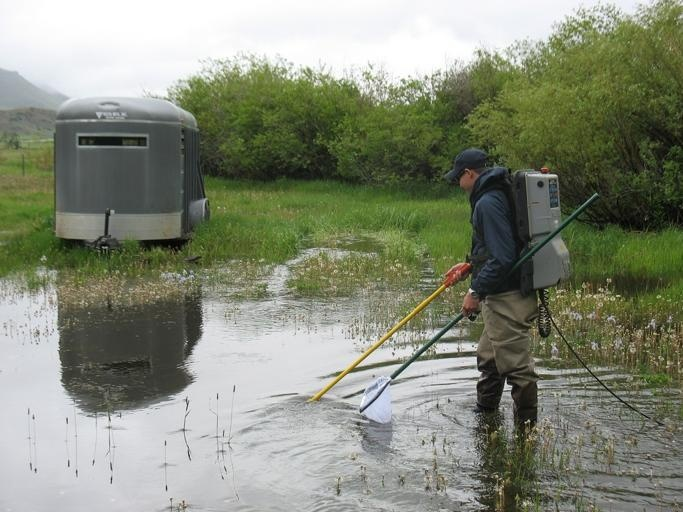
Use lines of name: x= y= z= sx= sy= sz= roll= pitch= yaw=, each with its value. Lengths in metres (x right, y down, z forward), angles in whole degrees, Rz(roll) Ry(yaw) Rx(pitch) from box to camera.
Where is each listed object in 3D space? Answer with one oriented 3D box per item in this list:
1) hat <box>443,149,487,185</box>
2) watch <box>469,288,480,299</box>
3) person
hat: x=1.541 y=-1.124 z=9.769 sx=0.587 sy=0.338 sz=0.408 roll=-6 pitch=-10 yaw=12
watch: x=1.588 y=0.436 z=9.333 sx=0.072 sy=0.102 sz=0.102 roll=-42 pitch=-19 yaw=5
person: x=1.880 y=0.374 z=9.484 sx=0.831 sy=3.265 sz=1.165 roll=-7 pitch=12 yaw=-30
